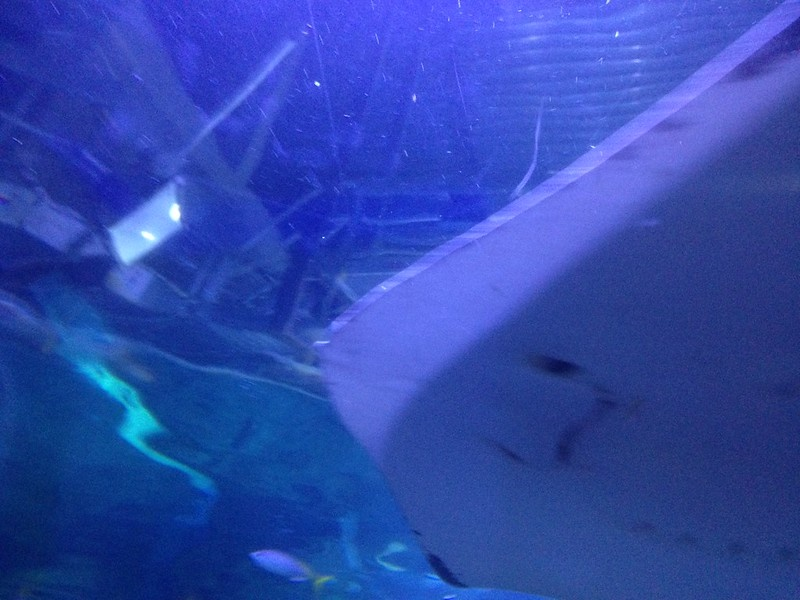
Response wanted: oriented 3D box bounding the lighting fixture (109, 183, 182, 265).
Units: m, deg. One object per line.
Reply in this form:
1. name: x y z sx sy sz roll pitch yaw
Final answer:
1. lighting fixture: -1.262 -0.373 3.525 0.238 0.389 0.568 43 -23 -20
